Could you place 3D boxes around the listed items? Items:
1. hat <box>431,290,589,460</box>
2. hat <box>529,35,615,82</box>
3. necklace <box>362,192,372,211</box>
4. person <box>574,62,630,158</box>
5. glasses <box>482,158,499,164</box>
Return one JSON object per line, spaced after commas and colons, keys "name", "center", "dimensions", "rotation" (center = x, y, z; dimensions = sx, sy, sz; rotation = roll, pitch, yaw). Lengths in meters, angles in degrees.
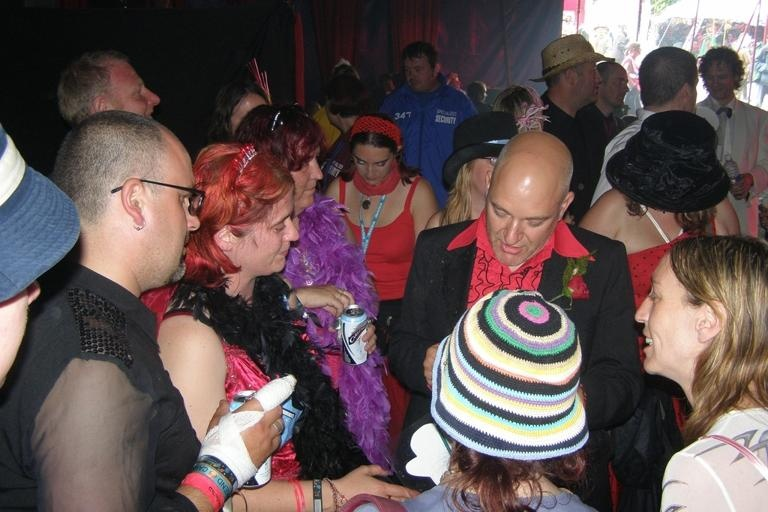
{"name": "hat", "center": [0.473, 0.482, 2.386], "dimensions": [0.582, 0.324, 0.662], "rotation": [-2, 31, -1]}
{"name": "hat", "center": [1.574, -1.691, 5.206], "dimensions": [0.499, 0.186, 0.416], "rotation": [-24, 5, 3]}
{"name": "necklace", "center": [-0.122, -0.400, 4.462], "dimensions": [0.056, 0.114, 0.049], "rotation": [-3, -6, 28]}
{"name": "person", "center": [2.275, -1.614, 6.683], "dimensions": [0.606, 0.852, 1.145], "rotation": [-3, 0, 29]}
{"name": "glasses", "center": [0.664, -0.607, 3.899], "dimensions": [0.117, 0.035, 0.109], "rotation": [0, 6, 6]}
